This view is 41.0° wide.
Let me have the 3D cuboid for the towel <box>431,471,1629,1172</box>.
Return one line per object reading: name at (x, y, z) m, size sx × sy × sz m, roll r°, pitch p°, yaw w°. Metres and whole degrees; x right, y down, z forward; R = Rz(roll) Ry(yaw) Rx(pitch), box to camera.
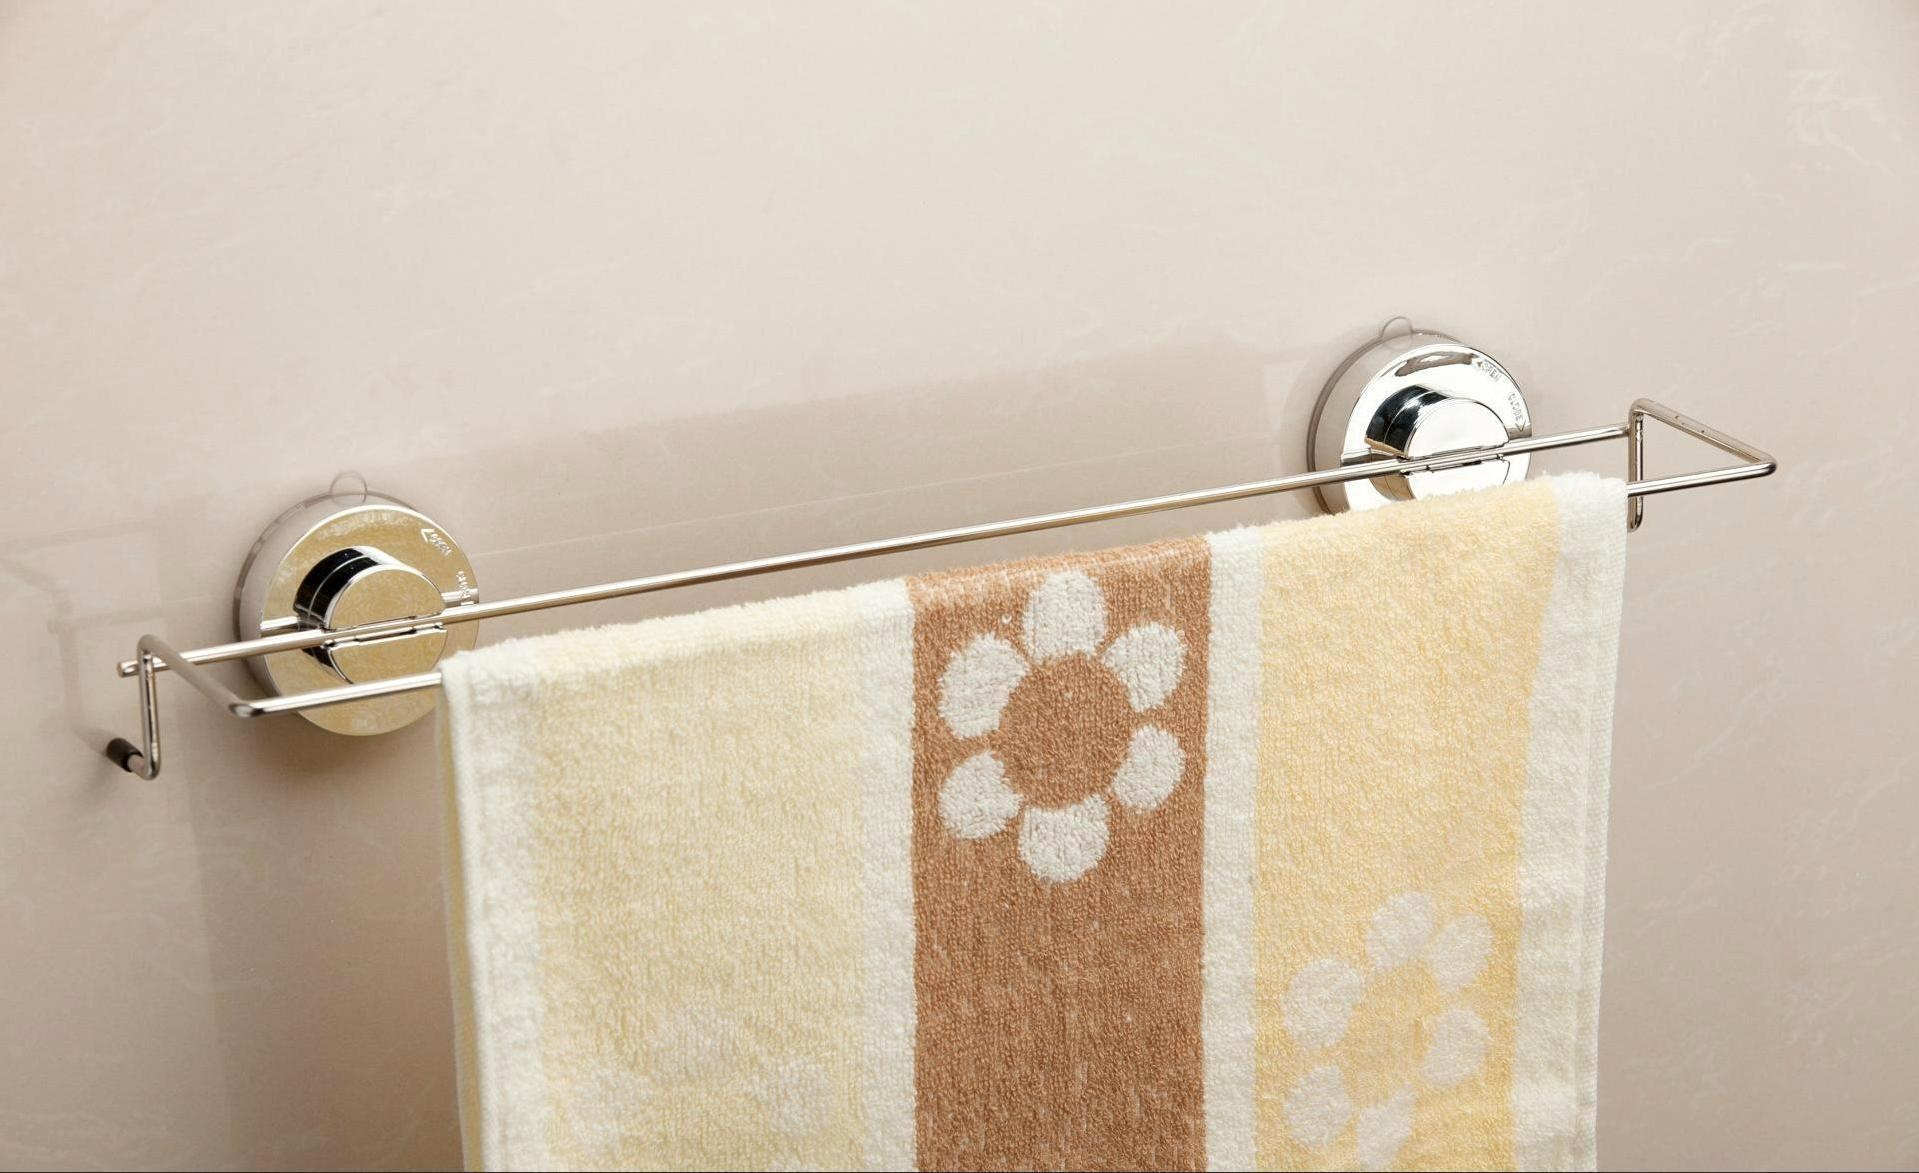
towel at (0.020, 0.128, 1.424) m, size 0.490 × 0.280 × 0.049 m, roll -5°, pitch 18°, yaw -16°
